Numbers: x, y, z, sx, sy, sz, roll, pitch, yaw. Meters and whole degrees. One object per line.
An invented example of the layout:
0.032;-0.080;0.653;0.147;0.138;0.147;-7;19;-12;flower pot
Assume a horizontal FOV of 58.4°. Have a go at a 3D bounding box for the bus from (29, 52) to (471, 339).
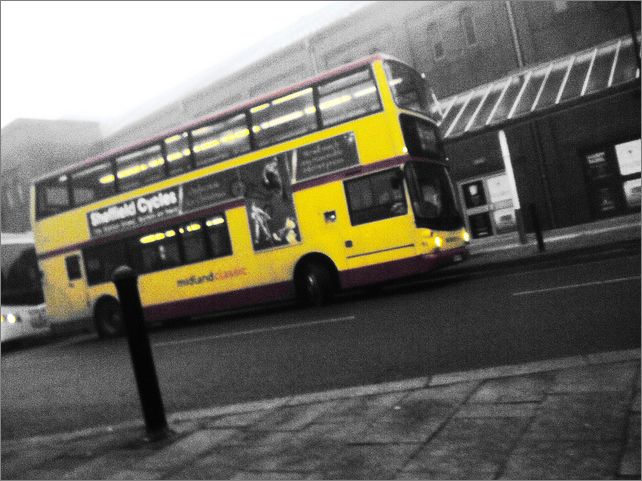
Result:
-1.918;-0.588;13.526;9.802;4.357;3.277;-12;-2;26;bus
